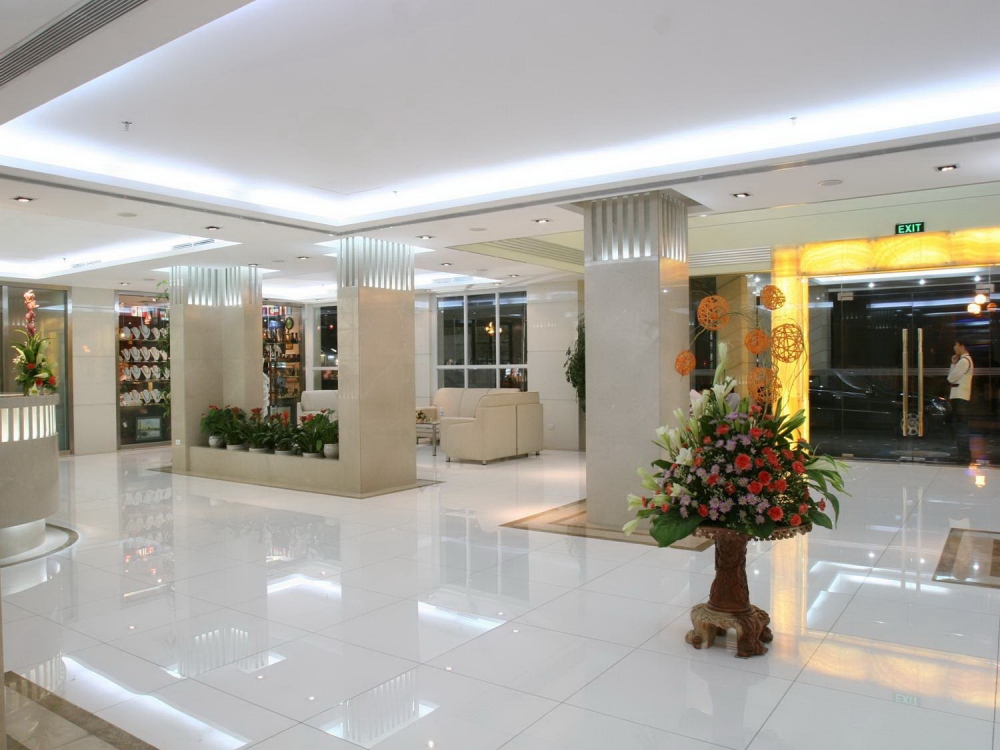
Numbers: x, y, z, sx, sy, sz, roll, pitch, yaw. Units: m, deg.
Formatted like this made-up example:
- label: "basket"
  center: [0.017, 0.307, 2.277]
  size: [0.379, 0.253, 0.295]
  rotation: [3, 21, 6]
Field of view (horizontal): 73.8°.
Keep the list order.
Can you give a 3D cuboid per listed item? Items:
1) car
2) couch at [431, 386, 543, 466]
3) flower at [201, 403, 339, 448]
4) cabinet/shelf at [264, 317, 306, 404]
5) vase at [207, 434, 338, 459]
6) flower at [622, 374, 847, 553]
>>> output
- label: "car"
  center: [6.686, 0.438, 11.691]
  size: [1.844, 0.782, 0.892]
  rotation: [-3, -2, 30]
- label: "couch"
  center: [-0.285, 0.980, 12.838]
  size: [1.264, 1.573, 2.385]
  rotation: [1, 1, 41]
- label: "flower"
  center: [-3.935, 0.877, 11.254]
  size: [2.304, 0.835, 0.704]
  rotation: [3, 0, 24]
- label: "cabinet/shelf"
  center: [-5.685, -0.352, 17.614]
  size: [0.275, 2.539, 1.139]
  rotation: [1, 5, 32]
- label: "vase"
  center: [-3.519, 1.146, 10.541]
  size: [2.060, 0.292, 0.345]
  rotation: [5, -3, 25]
- label: "flower"
  center: [1.692, 0.623, 4.578]
  size: [1.307, 1.103, 1.335]
  rotation: [-8, -2, 35]
